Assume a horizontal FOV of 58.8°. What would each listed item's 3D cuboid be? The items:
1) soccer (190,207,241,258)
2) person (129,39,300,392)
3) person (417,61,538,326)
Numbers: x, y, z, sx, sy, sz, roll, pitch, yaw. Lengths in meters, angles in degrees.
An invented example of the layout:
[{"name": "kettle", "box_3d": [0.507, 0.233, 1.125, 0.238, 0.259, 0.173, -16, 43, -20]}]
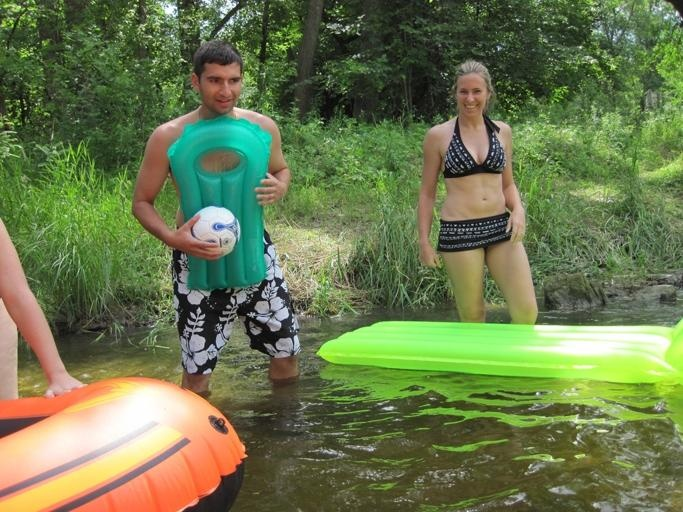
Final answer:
[{"name": "soccer", "box_3d": [-0.646, -0.114, 3.126, 0.235, 0.253, 0.120, -10, 11, -42]}, {"name": "person", "box_3d": [-0.665, -0.132, 3.369, 0.924, 2.029, 0.574, -6, 9, -19]}, {"name": "person", "box_3d": [0.989, -0.141, 4.294, 0.824, 2.229, 0.618, -3, 14, 5]}]
